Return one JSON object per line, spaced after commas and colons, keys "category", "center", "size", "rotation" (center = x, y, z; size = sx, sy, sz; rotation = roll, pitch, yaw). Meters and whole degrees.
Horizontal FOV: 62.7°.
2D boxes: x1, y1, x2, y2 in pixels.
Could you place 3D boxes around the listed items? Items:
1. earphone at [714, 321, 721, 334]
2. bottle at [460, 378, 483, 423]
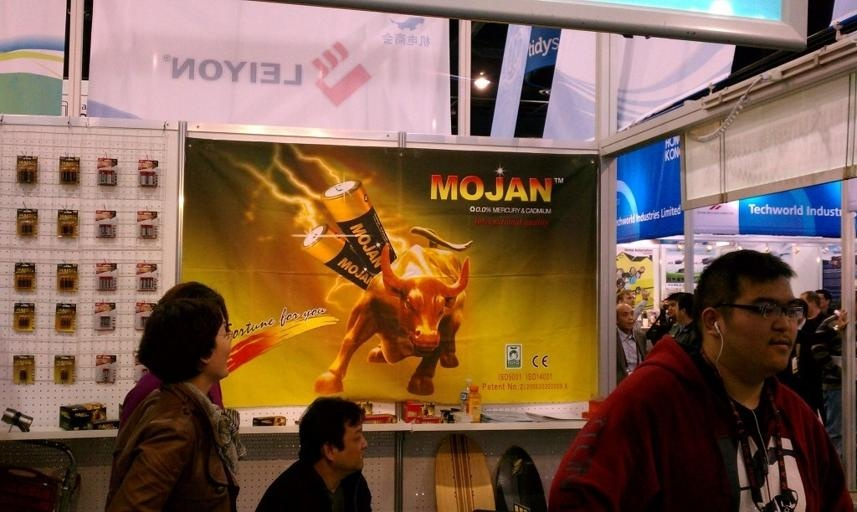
{"category": "earphone", "center": [1.315, 0.326, 3.192], "size": [0.016, 0.041, 0.035], "rotation": [-25, -14, -1]}
{"category": "bottle", "center": [0.317, 1.037, 5.086], "size": [0.130, 0.292, 0.156], "rotation": [0, -7, 2]}
